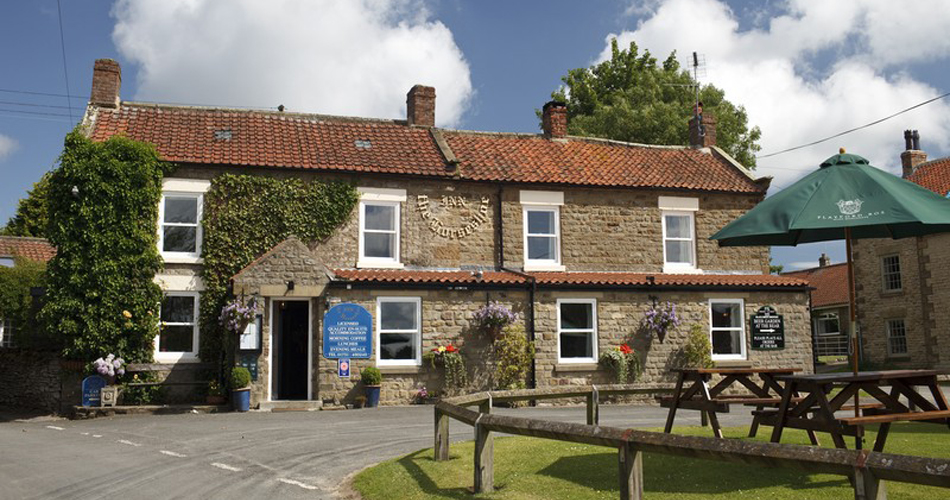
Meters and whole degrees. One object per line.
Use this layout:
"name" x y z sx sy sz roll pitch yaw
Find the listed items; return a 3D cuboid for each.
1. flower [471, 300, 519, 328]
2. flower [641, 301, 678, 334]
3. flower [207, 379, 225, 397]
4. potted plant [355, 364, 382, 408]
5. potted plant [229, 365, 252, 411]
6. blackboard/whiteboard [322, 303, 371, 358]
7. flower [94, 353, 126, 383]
"flower" 0.685 2.624 38.383 1.324 0.813 1.267 2 -8 -7
"flower" 7.744 2.880 39.164 1.377 0.884 1.292 8 -9 -37
"flower" -10.267 5.545 37.301 0.615 0.476 0.612 -4 -2 38
"potted plant" -4.109 5.423 37.259 0.826 1.488 0.596 -3 10 -5
"potted plant" -9.012 5.410 36.370 0.796 1.640 0.512 -5 11 -15
"blackboard/whiteboard" -5.191 3.293 37.314 2.494 2.280 0.247 1 -7 -9
"flower" -14.438 4.664 37.131 1.226 1.100 1.170 2 -3 -2
